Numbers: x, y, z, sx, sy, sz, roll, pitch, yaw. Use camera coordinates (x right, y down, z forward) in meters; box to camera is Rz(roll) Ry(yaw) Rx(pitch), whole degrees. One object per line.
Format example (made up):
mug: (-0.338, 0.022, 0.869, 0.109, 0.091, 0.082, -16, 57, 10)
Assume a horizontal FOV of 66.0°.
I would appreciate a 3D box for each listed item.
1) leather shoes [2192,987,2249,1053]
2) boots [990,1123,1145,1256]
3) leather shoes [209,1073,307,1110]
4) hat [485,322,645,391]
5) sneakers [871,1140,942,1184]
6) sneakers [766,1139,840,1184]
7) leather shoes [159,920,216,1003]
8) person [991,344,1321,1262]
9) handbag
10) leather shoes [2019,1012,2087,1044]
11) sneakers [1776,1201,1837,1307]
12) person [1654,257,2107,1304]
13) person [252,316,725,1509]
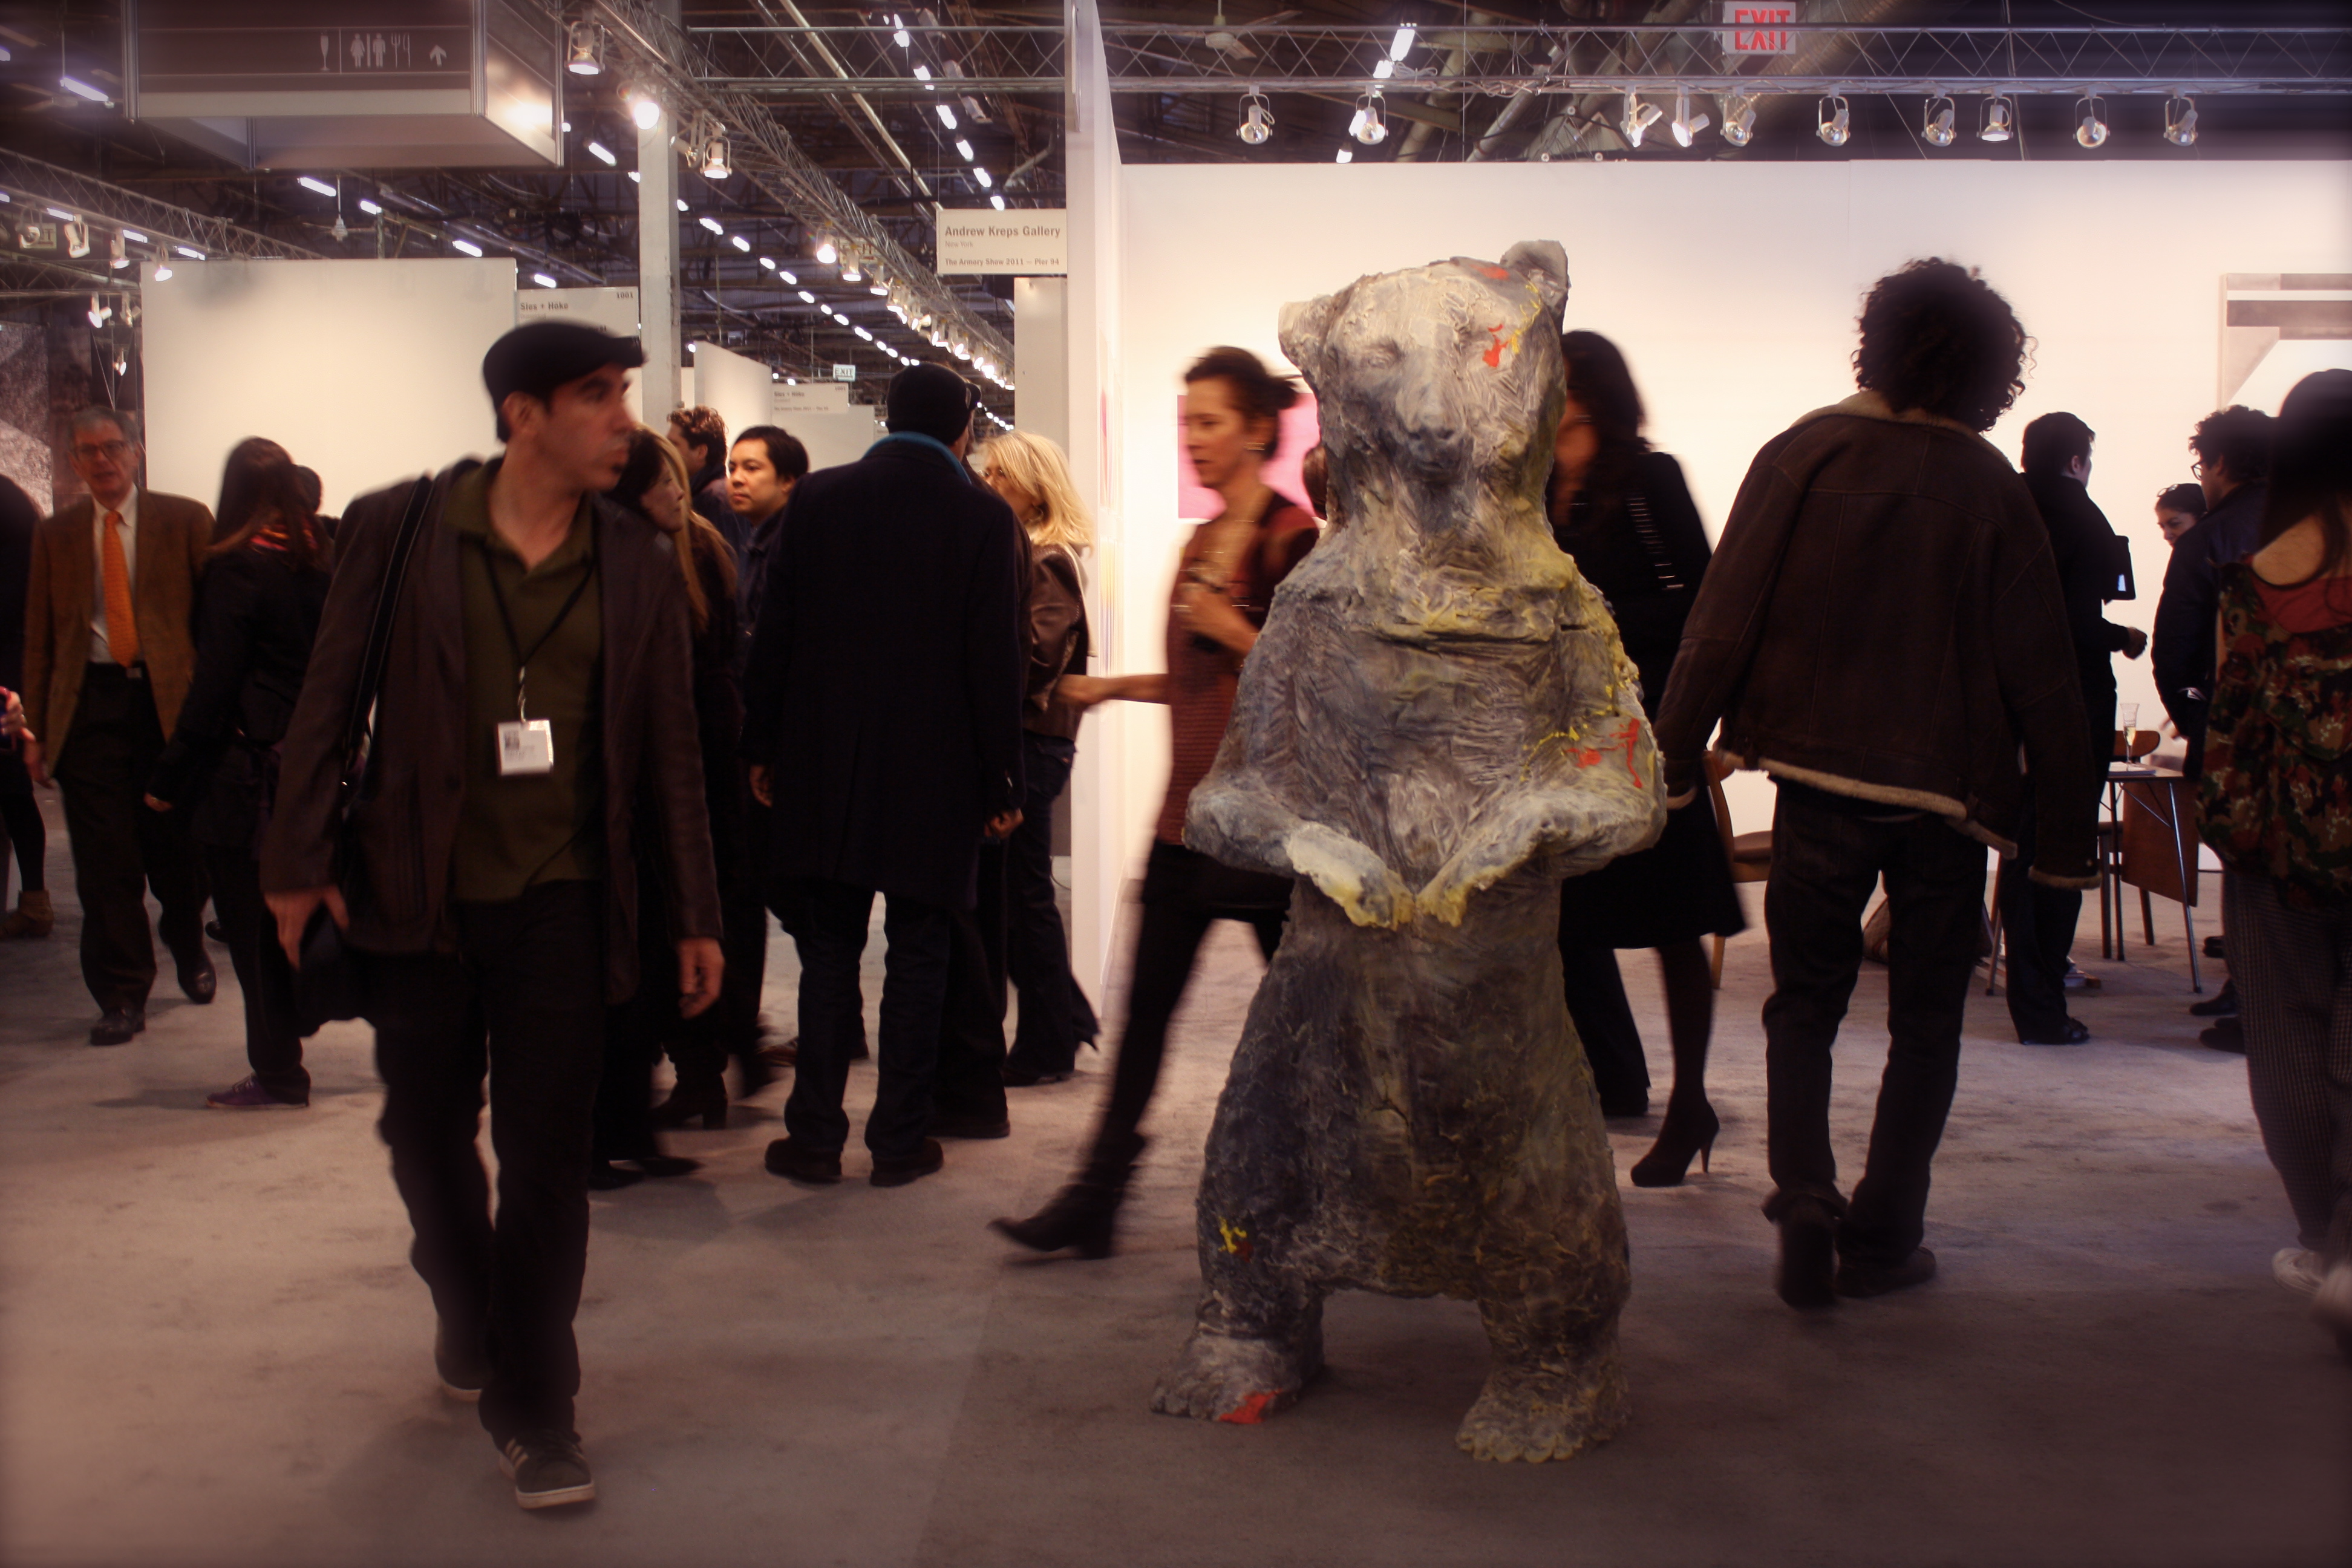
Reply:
leather shoes: (4.067, 0.922, 7.020, 0.277, 0.170, 0.516, -3, 1, 21)
boots: (-0.278, 1.137, 5.056, 0.571, 0.424, 0.221, 3, -1, -2)
leather shoes: (-3.264, 1.089, 6.433, 0.362, 0.148, 0.120, 5, -6, -1)
hat: (-1.321, -0.926, 3.915, 0.332, 0.182, 0.222, -1, 8, -6)
sneakers: (-0.829, 1.157, 5.647, 0.094, 0.153, 0.254, 3, 9, 27)
sneakers: (-1.176, 1.168, 5.648, 0.267, 0.127, 0.108, 3, 8, 20)
leather shoes: (-4.386, 0.791, 7.988, 0.118, 0.327, 0.232, -19, 16, -28)
person: (-0.013, 0.083, 4.808, 0.765, 2.456, 0.492, 1, 8, 8)
handbag: (-1.744, 0.238, 3.858, 0.130, 0.460, 0.331, 10, -9, -28)
leather shoes: (3.551, 0.978, 7.307, 0.224, 0.147, 0.117, -6, -1, 8)
sneakers: (1.641, 1.218, 4.678, 0.156, 0.253, 0.122, 2, 8, 13)
person: (1.832, -0.022, 4.768, 1.083, 2.681, 0.515, -2, 8, -12)
person: (-1.478, 0.244, 3.960, 0.750, 2.470, 0.613, 2, 8, 17)
